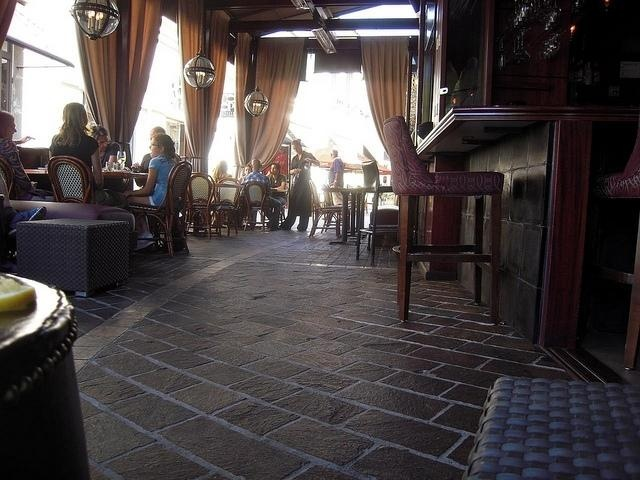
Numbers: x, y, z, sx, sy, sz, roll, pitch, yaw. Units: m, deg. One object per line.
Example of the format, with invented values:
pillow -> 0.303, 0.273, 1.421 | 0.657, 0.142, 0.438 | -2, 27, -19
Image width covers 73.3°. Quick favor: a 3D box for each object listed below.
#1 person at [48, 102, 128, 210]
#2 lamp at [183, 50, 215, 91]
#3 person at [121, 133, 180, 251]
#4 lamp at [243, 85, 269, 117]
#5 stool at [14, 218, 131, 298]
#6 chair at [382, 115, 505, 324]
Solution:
person -> -2.656, -0.822, 4.821 | 0.615, 1.135, 0.686 | 7, 11, -16
lamp -> -1.992, -2.701, 7.076 | 0.476, 0.654, 0.504 | 4, 6, 32
person -> -2.092, -0.611, 5.360 | 0.551, 1.368, 0.992 | -1, 6, -19
lamp -> -1.383, -2.899, 9.333 | 0.354, 0.574, 0.429 | -4, 8, -45
stool -> -1.850, 0.077, 3.234 | 0.739, 0.442, 0.736 | 3, 9, -19
chair -> 0.785, -0.137, 2.898 | 0.724, 1.247, 0.675 | 1, 5, 10
